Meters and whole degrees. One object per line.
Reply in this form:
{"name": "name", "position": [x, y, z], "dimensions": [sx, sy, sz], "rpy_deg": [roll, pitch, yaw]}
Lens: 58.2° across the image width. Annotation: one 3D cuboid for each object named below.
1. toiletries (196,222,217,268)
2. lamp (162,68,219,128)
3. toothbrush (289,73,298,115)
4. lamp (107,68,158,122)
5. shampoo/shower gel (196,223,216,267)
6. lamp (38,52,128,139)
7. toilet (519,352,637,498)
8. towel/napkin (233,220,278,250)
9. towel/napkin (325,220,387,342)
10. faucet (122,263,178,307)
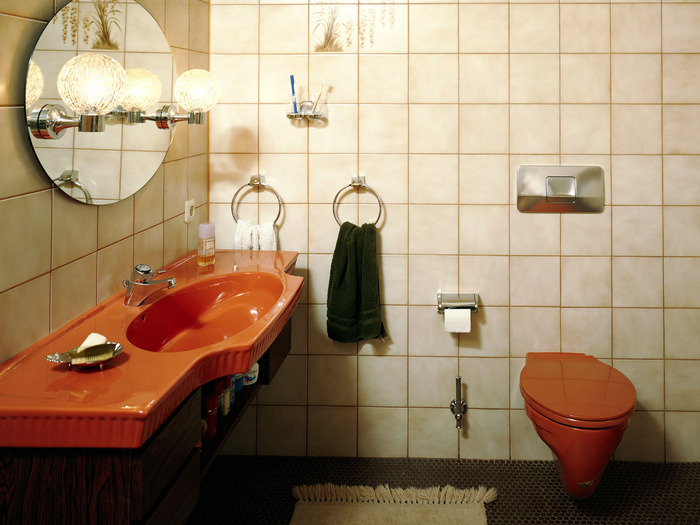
{"name": "toiletries", "position": [-0.610, -0.078, 2.672], "dimensions": [0.071, 0.170, 0.150], "rpy_deg": [2, 10, -16]}
{"name": "lamp", "position": [-0.640, -0.664, 2.597], "dimensions": [0.169, 0.223, 0.224], "rpy_deg": [0, 1, -40]}
{"name": "toothbrush", "position": [-0.274, -0.787, 2.996], "dimensions": [0.031, 0.218, 0.016], "rpy_deg": [-5, 10, -10]}
{"name": "lamp", "position": [-0.775, -0.606, 2.308], "dimensions": [0.165, 0.223, 0.180], "rpy_deg": [2, 1, -5]}
{"name": "shampoo/shower gel", "position": [-0.613, -0.075, 2.674], "dimensions": [0.065, 0.192, 0.068], "rpy_deg": [0, 6, -6]}
{"name": "lamp", "position": [-0.832, -0.517, 1.955], "dimensions": [0.273, 0.240, 0.181], "rpy_deg": [-2, 4, 8]}
{"name": "toilet", "position": [1.010, 0.755, 2.878], "dimensions": [0.438, 0.492, 0.704], "rpy_deg": [-1, 15, 10]}
{"name": "towel/napkin", "position": [-0.453, -0.126, 3.012], "dimensions": [0.197, 0.136, 0.089], "rpy_deg": [3, 9, -12]}
{"name": "towel/napkin", "position": [0.020, 0.081, 3.038], "dimensions": [0.294, 0.532, 0.148], "rpy_deg": [-2, 7, 1]}
{"name": "faucet", "position": [-0.710, 0.102, 2.236], "dimensions": [0.188, 0.141, 0.098], "rpy_deg": [-7, -19, 9]}
